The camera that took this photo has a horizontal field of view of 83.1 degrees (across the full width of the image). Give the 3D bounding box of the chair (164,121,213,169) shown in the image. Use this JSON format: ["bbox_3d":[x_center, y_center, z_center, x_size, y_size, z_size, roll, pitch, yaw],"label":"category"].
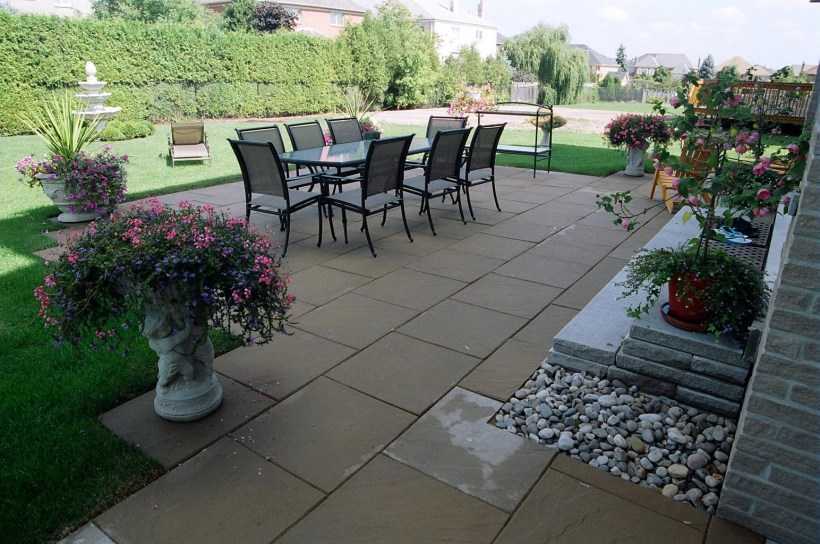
[{"bbox_3d":[-4.649,-2.719,9.728,0.853,0.675,1.018,-12,38,-27],"label":"chair"}]

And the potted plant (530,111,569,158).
[{"bbox_3d":[3.108,-3.091,10.371,0.456,0.999,3.575,5,24,14],"label":"potted plant"}]

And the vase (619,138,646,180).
[{"bbox_3d":[4.179,-2.082,8.605,0.556,0.684,0.574,2,13,8],"label":"vase"}]

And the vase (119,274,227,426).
[{"bbox_3d":[-1.466,0.498,2.956,0.450,0.836,0.414,-8,3,-17],"label":"vase"}]

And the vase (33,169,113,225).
[{"bbox_3d":[-4.475,-0.987,6.347,0.879,0.565,0.833,-3,19,-20],"label":"vase"}]

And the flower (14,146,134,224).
[{"bbox_3d":[-4.617,-1.187,6.523,1.275,0.856,1.350,-7,12,-41],"label":"flower"}]

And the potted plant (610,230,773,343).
[{"bbox_3d":[1.914,0.048,3.059,0.879,0.563,0.798,8,25,45],"label":"potted plant"}]

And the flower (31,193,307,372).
[{"bbox_3d":[-1.540,-0.034,3.070,1.248,0.776,1.170,-3,23,-15],"label":"flower"}]
